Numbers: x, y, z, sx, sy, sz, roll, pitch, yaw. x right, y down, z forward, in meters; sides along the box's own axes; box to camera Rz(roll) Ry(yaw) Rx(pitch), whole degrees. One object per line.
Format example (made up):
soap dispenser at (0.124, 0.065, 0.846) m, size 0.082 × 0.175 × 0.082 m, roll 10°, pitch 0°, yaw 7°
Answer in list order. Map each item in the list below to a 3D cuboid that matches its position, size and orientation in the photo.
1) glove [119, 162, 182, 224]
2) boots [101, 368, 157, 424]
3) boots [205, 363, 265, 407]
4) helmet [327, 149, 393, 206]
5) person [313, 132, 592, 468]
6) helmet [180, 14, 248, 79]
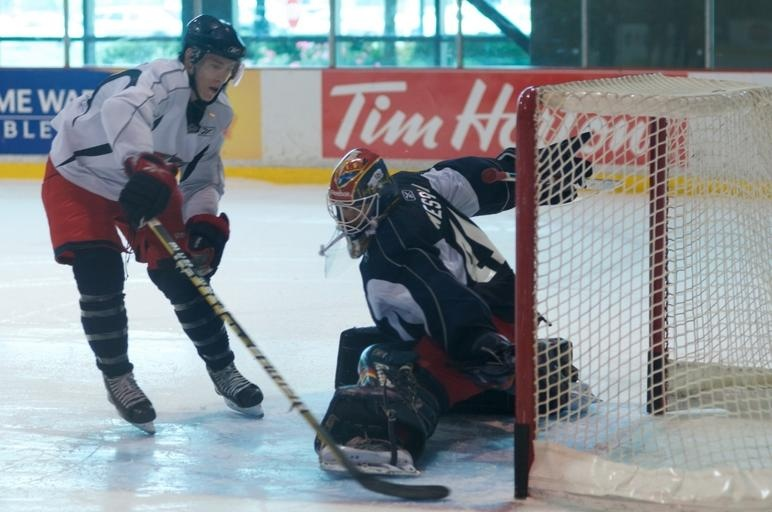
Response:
glove at (-0.955, -0.260, 4.084) m, size 0.096 × 0.240 × 0.256 m, roll 33°, pitch 14°, yaw 29°
boots at (-1.101, 0.593, 4.380) m, size 0.114 × 0.150 × 0.333 m, roll -36°, pitch 56°, yaw -23°
boots at (-0.664, 0.588, 4.452) m, size 0.113 × 0.140 × 0.313 m, roll -42°, pitch 40°, yaw -10°
helmet at (-0.161, -0.355, 4.435) m, size 0.250 × 0.258 × 0.305 m, roll 4°, pitch 23°, yaw 8°
person at (0.271, 0.155, 4.498) m, size 1.139 × 1.158 × 1.679 m, roll -10°, pitch 27°, yaw 21°
helmet at (-0.747, -0.897, 4.434) m, size 0.317 × 0.273 × 0.261 m, roll 15°, pitch 16°, yaw 22°
